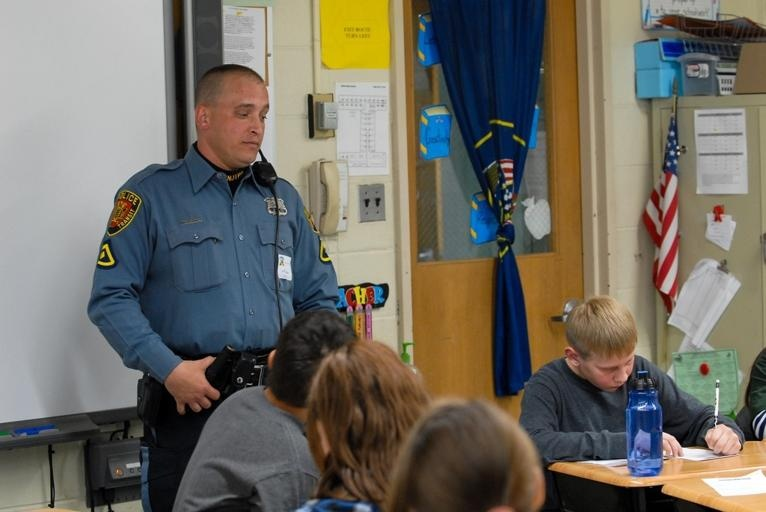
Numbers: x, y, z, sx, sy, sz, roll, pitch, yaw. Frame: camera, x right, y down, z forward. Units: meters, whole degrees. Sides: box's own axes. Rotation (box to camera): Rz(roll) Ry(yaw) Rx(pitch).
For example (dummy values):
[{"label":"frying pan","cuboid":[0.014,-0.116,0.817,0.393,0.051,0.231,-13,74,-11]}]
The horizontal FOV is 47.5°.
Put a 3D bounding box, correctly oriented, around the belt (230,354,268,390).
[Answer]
[{"label":"belt","cuboid":[-0.545,0.473,3.563,0.137,0.144,0.244,6,-2,3]}]
